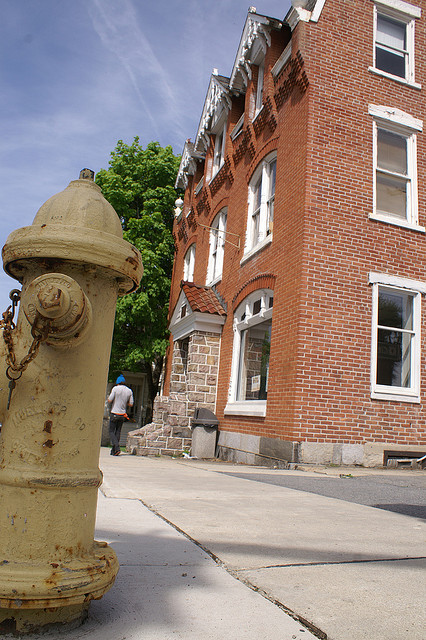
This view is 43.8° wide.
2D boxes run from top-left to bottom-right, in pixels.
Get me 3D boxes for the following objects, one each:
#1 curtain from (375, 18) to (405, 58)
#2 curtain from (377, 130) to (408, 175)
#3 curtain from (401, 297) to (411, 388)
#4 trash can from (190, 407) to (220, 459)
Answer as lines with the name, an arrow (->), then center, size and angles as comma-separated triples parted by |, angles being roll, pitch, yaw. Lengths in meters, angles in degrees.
curtain -> 3.751, -6.044, 11.347 | 1.112, 0.790, 0.083 | 7, -7, -27
curtain -> 3.617, -3.423, 10.818 | 0.955, 0.931, 0.037 | 10, -13, -29
curtain -> 3.725, 0.248, 10.294 | 0.096, 1.882, 0.414 | -3, 3, 0
trash can -> -0.235, 2.692, 12.641 | 0.680, 1.182, 0.596 | 5, -12, 11
